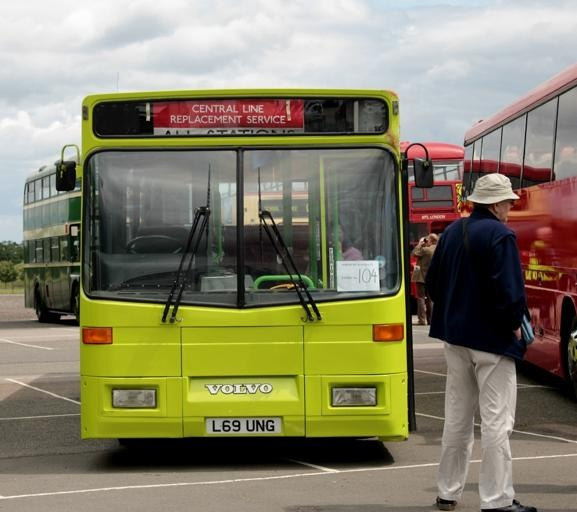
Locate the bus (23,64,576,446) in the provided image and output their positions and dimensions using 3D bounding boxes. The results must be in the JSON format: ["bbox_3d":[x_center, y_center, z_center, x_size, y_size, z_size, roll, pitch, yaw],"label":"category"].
[{"bbox_3d":[-0.315,0.064,6.932,2.361,1.857,3.387,-1,1,5],"label":"bus"}]
